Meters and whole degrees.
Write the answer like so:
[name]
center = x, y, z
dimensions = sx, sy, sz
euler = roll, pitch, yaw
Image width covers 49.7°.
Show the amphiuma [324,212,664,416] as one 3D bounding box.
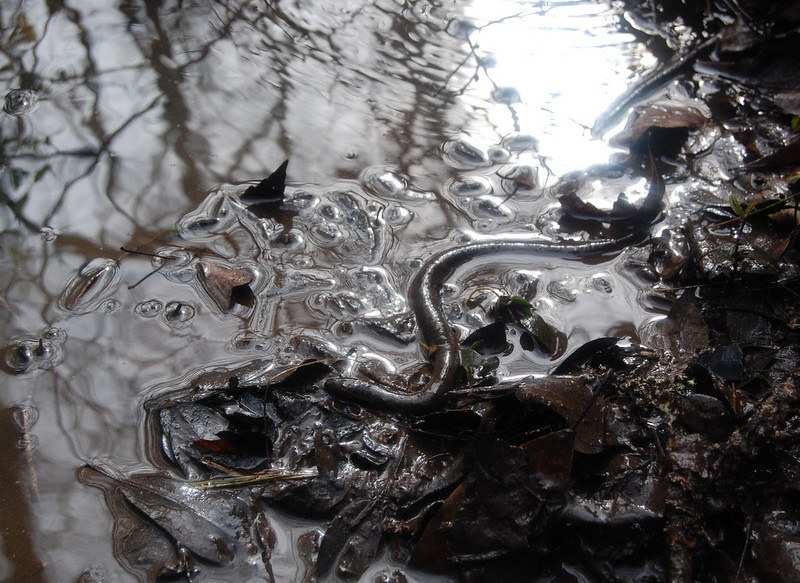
[amphiuma]
center = 0.585, 0.193, 5.494
dimensions = 1.916, 0.222, 1.420
euler = -15, 32, -33
